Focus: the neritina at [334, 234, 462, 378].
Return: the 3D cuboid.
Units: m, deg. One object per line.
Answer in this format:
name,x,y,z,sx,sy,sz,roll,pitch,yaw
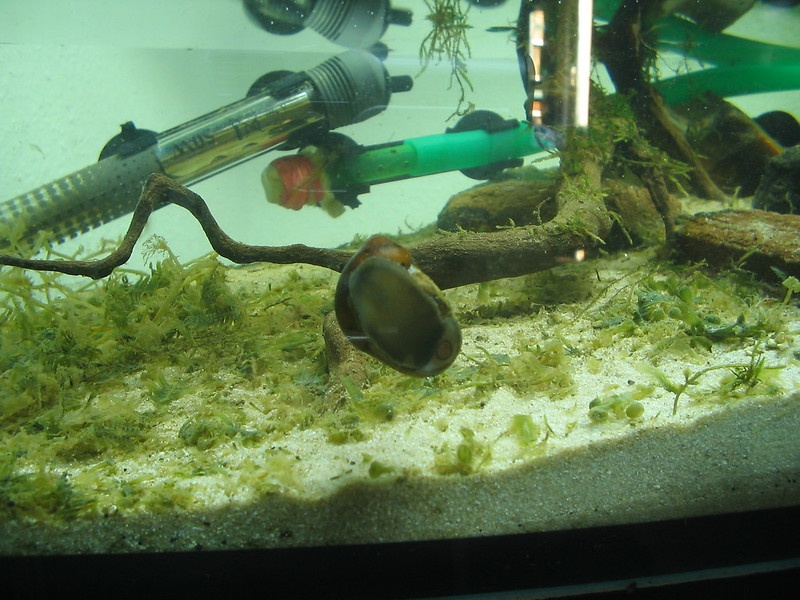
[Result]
neritina,0.049,0.022,2.450,0.339,0.451,0.153,-46,3,18
